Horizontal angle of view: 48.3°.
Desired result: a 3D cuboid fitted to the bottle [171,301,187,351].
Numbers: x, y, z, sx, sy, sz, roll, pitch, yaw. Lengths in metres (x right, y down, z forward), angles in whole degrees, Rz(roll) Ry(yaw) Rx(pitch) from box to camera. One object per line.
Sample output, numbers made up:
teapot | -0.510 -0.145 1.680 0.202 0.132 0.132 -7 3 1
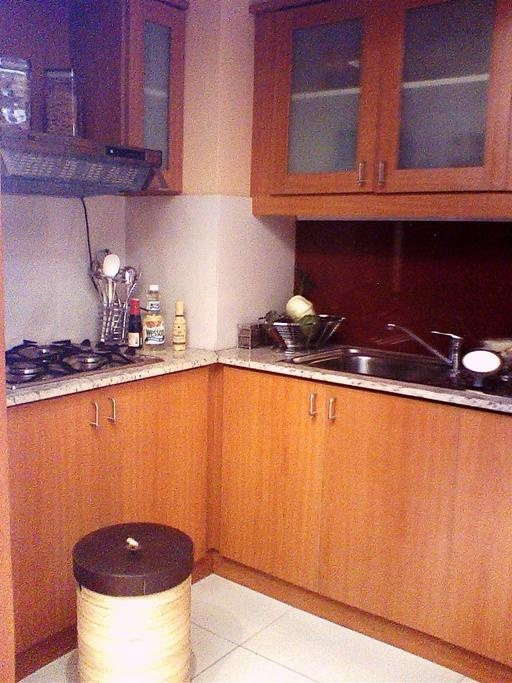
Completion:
bottle | -0.295 -0.063 2.205 0.061 0.187 0.126 2 4 -7

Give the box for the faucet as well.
faucet | 0.596 0.018 2.036 0.233 0.146 0.500 3 4 12
